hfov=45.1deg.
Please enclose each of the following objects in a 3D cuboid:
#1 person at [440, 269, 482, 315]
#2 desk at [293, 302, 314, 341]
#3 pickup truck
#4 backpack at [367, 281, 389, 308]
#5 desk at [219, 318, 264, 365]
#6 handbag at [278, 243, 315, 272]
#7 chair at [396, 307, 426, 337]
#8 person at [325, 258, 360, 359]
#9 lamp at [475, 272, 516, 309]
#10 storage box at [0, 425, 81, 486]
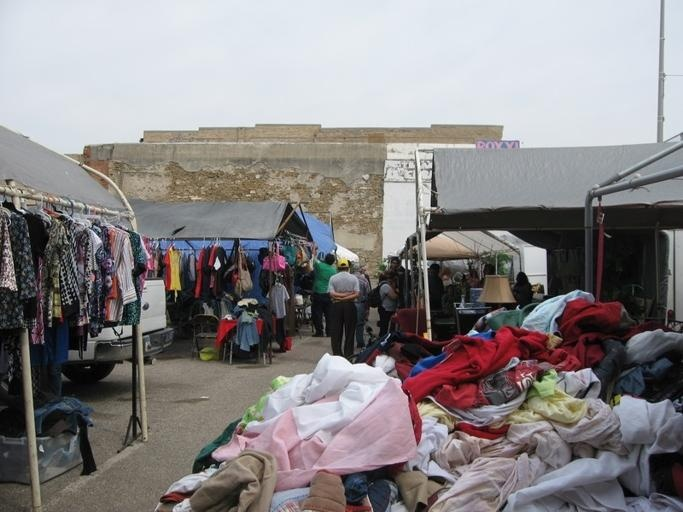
[{"bbox_3d":[2.337,0.702,16.703,0.804,1.233,0.393,2,-1,2],"label":"person"},{"bbox_3d":[-0.922,1.618,20.177,0.785,0.851,0.589,-1,-7,6],"label":"desk"},{"bbox_3d":[-3.403,1.043,11.814,1.237,1.323,2.358,-10,-1,-43],"label":"pickup truck"},{"bbox_3d":[0.707,0.742,15.482,0.425,0.498,0.327,1,-1,6],"label":"backpack"},{"bbox_3d":[-1.706,1.481,14.187,0.706,0.632,0.751,-1,-7,13],"label":"desk"},{"bbox_3d":[-1.011,0.048,17.811,0.622,0.430,0.541,-2,-6,21],"label":"handbag"},{"bbox_3d":[1.053,0.963,12.162,0.396,0.201,0.422,3,4,10],"label":"chair"},{"bbox_3d":[0.053,0.890,13.548,0.498,1.602,1.097,0,2,1],"label":"person"},{"bbox_3d":[2.237,0.498,11.710,0.409,0.432,0.418,5,11,40],"label":"lamp"},{"bbox_3d":[-3.035,2.053,8.402,0.421,0.280,0.605,-3,-7,18],"label":"storage box"}]
